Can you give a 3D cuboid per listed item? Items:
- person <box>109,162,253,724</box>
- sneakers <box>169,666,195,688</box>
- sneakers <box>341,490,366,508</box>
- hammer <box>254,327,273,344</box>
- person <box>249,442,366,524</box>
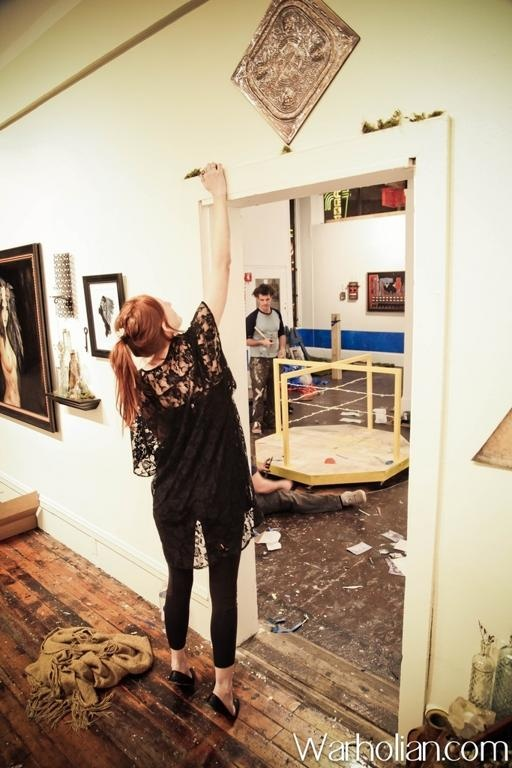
[{"bbox_3d":[-0.267,0.266,2.224,0.497,2.137,0.442,-4,11,-2],"label":"person"},{"bbox_3d":[-0.313,1.260,2.426,0.068,0.047,0.129,-7,39,-34],"label":"sneakers"},{"bbox_3d":[0.723,0.857,4.178,0.108,0.074,0.176,-22,6,-24],"label":"sneakers"},{"bbox_3d":[0.084,-0.504,6.002,0.058,0.211,0.125,-20,18,-6],"label":"hammer"},{"bbox_3d":[0.339,0.718,4.271,0.958,0.524,0.416,0,-10,15],"label":"person"}]
